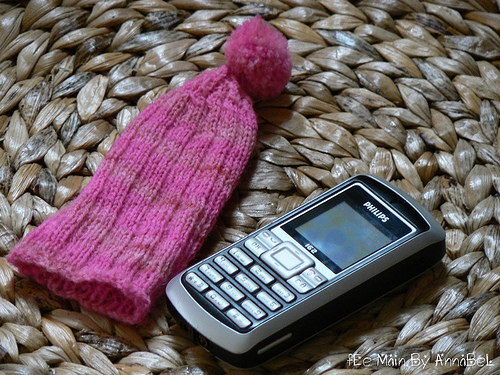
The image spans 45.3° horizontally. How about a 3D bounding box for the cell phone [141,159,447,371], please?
[{"bbox_3d":[0.062,0.109,0.671,0.322,0.078,0.156,-27,53,-15],"label":"cell phone"}]
